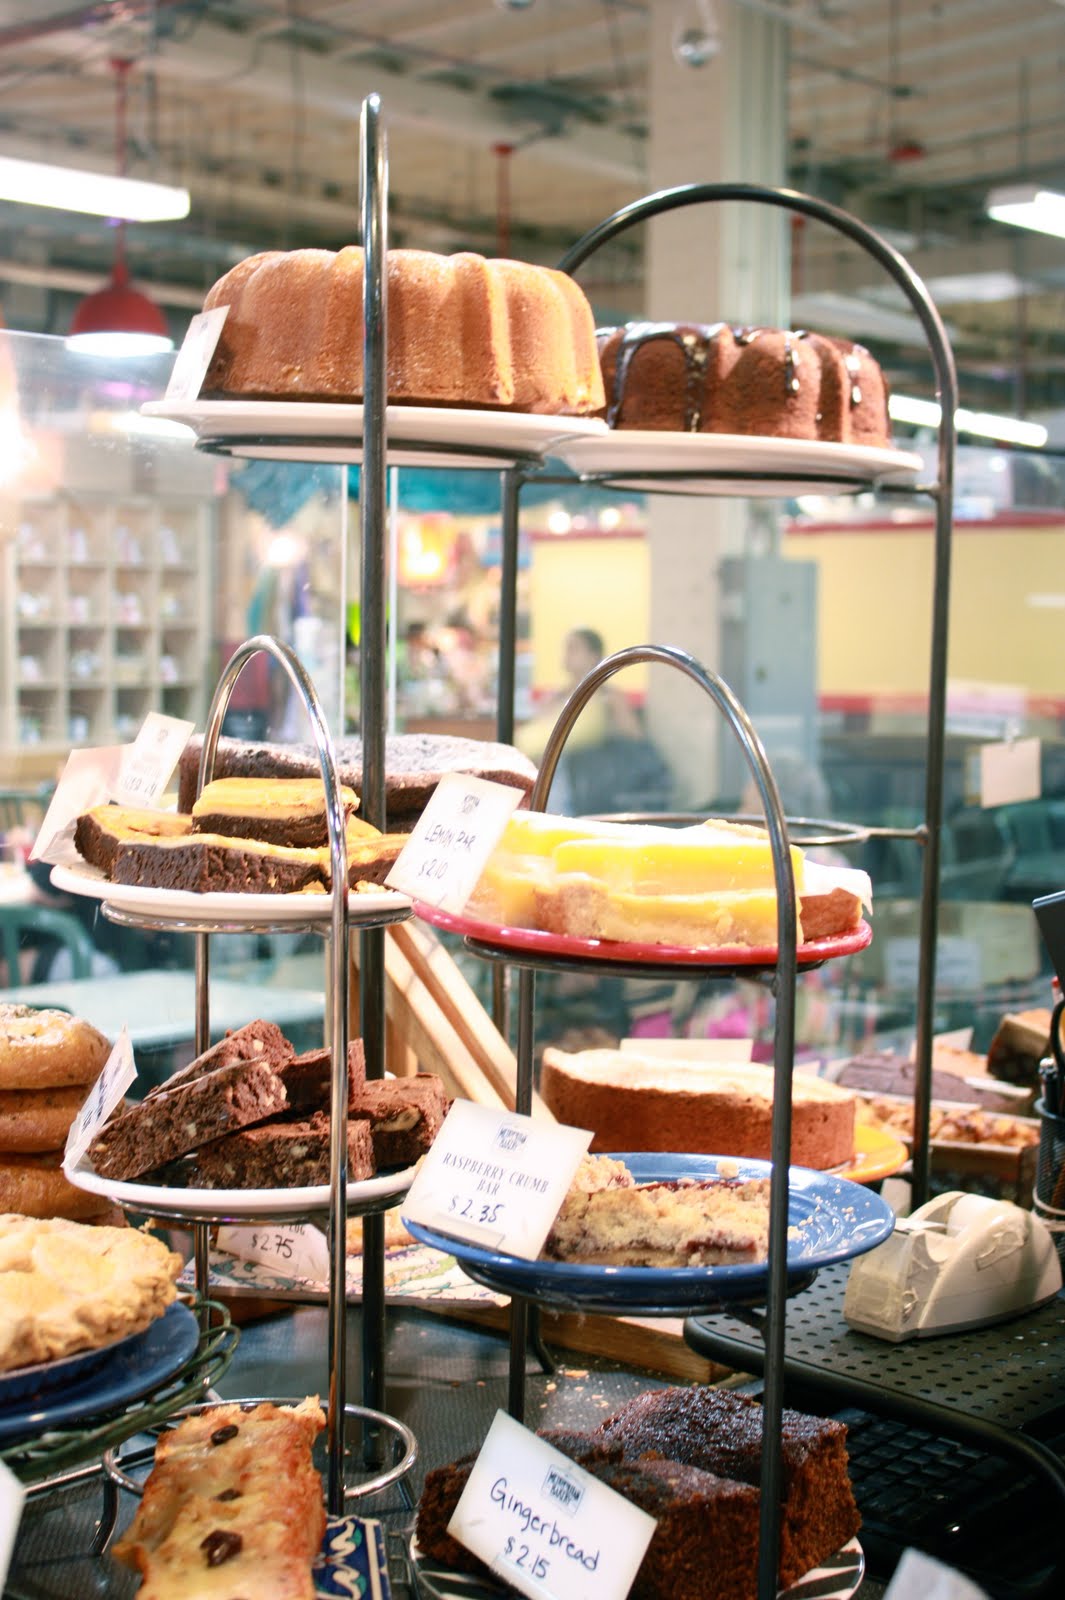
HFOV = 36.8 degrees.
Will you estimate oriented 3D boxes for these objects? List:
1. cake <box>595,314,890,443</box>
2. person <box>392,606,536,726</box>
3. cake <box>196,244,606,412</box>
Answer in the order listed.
[{"bbox_3d":[0.210,-0.389,1.510,0.213,0.062,0.198,3,8,-3],"label":"cake"},{"bbox_3d":[-0.424,-0.669,7.912,0.701,0.837,0.277,-10,21,-5],"label":"person"},{"bbox_3d":[-0.085,-0.348,1.211,0.199,0.066,0.193,-1,5,-36],"label":"cake"}]
